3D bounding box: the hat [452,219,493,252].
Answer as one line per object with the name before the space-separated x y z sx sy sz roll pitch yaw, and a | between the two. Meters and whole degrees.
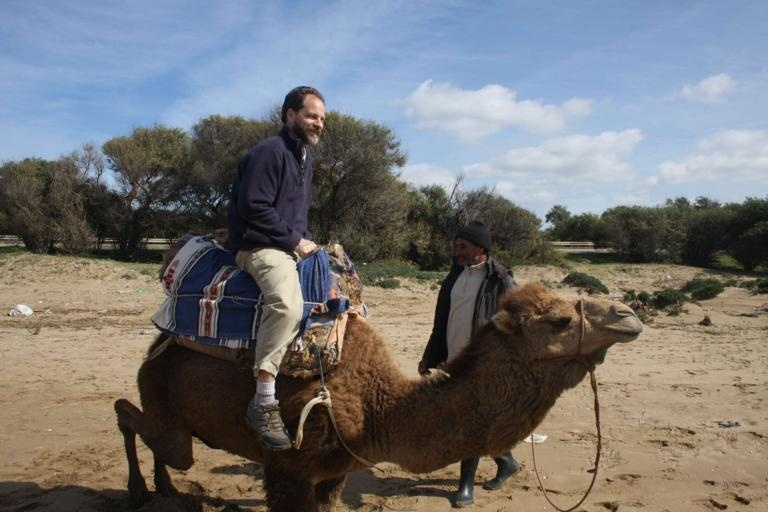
hat | 1.291 -0.306 7.734 0.446 0.354 0.435 30 -13 -35
